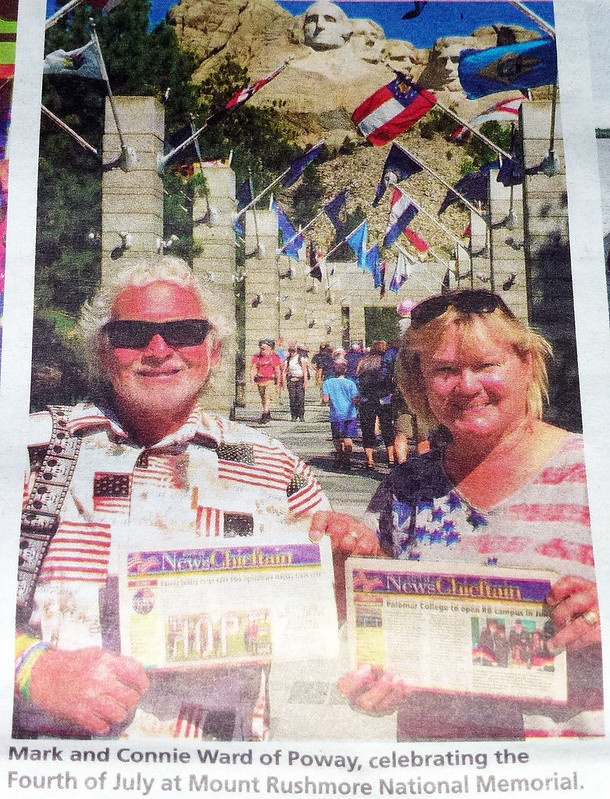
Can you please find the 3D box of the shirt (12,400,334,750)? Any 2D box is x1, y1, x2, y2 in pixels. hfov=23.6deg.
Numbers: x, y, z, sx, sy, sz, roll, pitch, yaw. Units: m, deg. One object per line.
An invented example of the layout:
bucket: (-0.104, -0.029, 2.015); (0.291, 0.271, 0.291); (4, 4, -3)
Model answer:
shirt: (-0.728, 0.848, 7.555); (1.535, 1.195, 1.301); (-1, 37, 1)

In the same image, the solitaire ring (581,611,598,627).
solitaire ring: (1.468, 1.108, 7.478); (0.094, 0.060, 0.052); (-27, 44, -29)

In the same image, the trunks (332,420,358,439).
trunks: (0.213, 0.155, 7.907); (0.160, 0.141, 0.088); (0, -2, 8)

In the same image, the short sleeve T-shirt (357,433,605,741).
short sleeve T-shirt: (0.920, 0.943, 7.554); (1.169, 1.077, 1.136); (-2, 37, 0)

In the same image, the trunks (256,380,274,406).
trunks: (-0.214, -0.040, 7.931); (0.079, 0.064, 0.121); (2, 33, -21)
